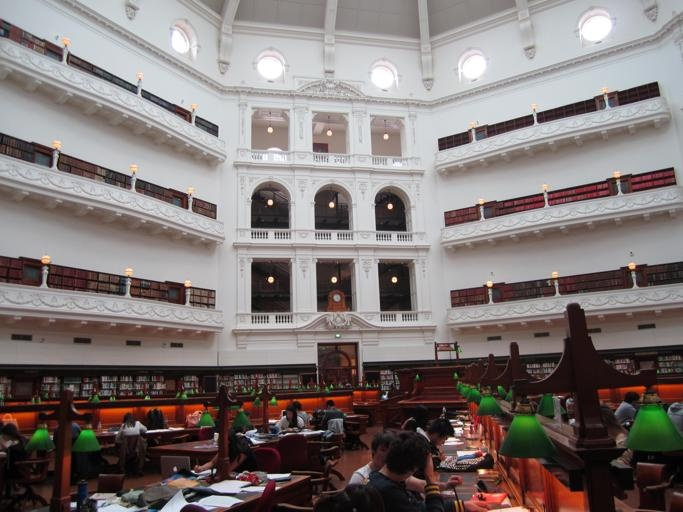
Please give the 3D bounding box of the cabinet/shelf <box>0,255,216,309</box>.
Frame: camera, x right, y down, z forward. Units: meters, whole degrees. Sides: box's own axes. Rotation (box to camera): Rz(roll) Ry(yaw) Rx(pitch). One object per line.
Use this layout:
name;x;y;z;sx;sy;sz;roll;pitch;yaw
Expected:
cabinet/shelf;-7.412;0.896;17.424;0.386;0.889;7.090;-11;-15;31

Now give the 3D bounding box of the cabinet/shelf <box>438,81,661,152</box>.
cabinet/shelf;8.480;-5.746;22.128;8.203;0.798;0.363;-10;-14;27

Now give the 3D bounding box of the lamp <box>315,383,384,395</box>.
lamp;0.288;4.366;17.785;1.596;0.399;3.878;-7;-13;14

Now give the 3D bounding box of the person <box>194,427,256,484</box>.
person;-1.497;2.535;7.039;0.525;0.380;0.808;-7;-19;16

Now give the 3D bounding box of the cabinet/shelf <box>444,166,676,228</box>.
cabinet/shelf;8.651;-2.336;21.438;8.249;0.984;0.720;-10;-14;28

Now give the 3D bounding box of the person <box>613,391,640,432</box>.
person;5.203;2.892;9.733;0.471;0.885;0.382;-4;15;10

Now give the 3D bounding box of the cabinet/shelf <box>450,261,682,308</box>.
cabinet/shelf;8.677;1.094;20.867;8.054;0.902;0.432;-10;-14;28

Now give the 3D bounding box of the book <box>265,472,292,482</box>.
book;-0.757;2.651;6.456;0.209;0.048;0.204;2;-6;-13
